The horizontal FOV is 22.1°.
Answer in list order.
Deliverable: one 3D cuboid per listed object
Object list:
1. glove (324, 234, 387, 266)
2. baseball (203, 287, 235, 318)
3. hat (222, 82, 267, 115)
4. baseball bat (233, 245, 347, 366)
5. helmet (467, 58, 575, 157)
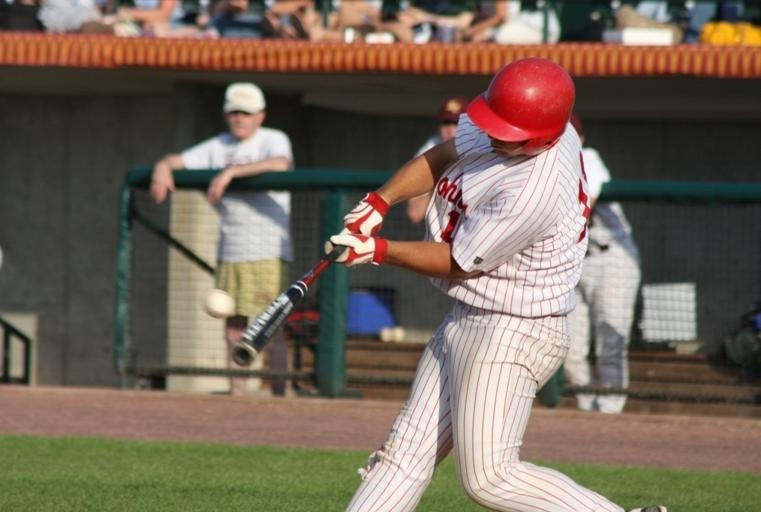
[{"bbox_3d":[-0.135,-0.035,9.307,0.262,0.099,0.147,-4,33,-10],"label":"glove"},{"bbox_3d":[-0.886,0.245,10.565,0.147,0.157,0.063,-5,-1,-9],"label":"baseball"},{"bbox_3d":[-0.756,-0.863,10.593,0.218,0.187,0.161,2,-2,-1],"label":"hat"},{"bbox_3d":[-0.516,0.262,10.340,0.143,0.144,0.996,6,38,47],"label":"baseball bat"},{"bbox_3d":[0.647,-0.696,9.288,0.533,0.369,0.331,0,-31,-28],"label":"helmet"}]
